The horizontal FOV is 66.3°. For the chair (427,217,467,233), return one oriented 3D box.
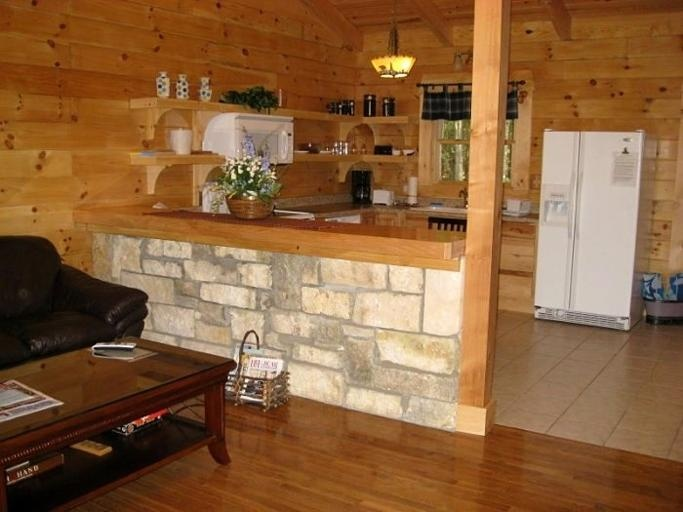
[{"bbox_3d":[1.234,-0.388,6.209,0.508,0.148,0.168,8,13,30],"label":"chair"}]

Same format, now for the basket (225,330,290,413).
[{"bbox_3d":[-0.610,0.797,3.758,0.529,0.433,0.299,5,0,31],"label":"basket"}]

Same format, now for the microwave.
[{"bbox_3d":[-0.791,-1.259,5.193,0.913,0.390,0.259,19,31,8],"label":"microwave"}]

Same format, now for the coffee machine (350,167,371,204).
[{"bbox_3d":[0.328,-0.953,7.163,0.402,0.481,0.361,-5,13,-19],"label":"coffee machine"}]

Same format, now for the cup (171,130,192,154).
[{"bbox_3d":[-1.387,-1.008,4.666,0.242,0.223,0.220,1,8,0],"label":"cup"}]

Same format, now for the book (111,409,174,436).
[{"bbox_3d":[-1.094,0.927,2.888,0.244,0.052,0.252,4,7,30],"label":"book"}]

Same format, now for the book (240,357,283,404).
[{"bbox_3d":[-0.576,0.843,3.715,0.375,0.153,0.393,5,21,12],"label":"book"}]

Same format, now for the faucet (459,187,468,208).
[{"bbox_3d":[1.556,-0.748,6.687,0.066,0.236,0.166,0,12,-6],"label":"faucet"}]

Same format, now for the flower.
[{"bbox_3d":[-0.647,-0.500,3.982,0.423,0.405,0.444,-15,18,-20],"label":"flower"}]

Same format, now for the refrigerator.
[{"bbox_3d":[2.542,-0.269,5.485,1.013,2.027,0.338,5,14,16],"label":"refrigerator"}]
